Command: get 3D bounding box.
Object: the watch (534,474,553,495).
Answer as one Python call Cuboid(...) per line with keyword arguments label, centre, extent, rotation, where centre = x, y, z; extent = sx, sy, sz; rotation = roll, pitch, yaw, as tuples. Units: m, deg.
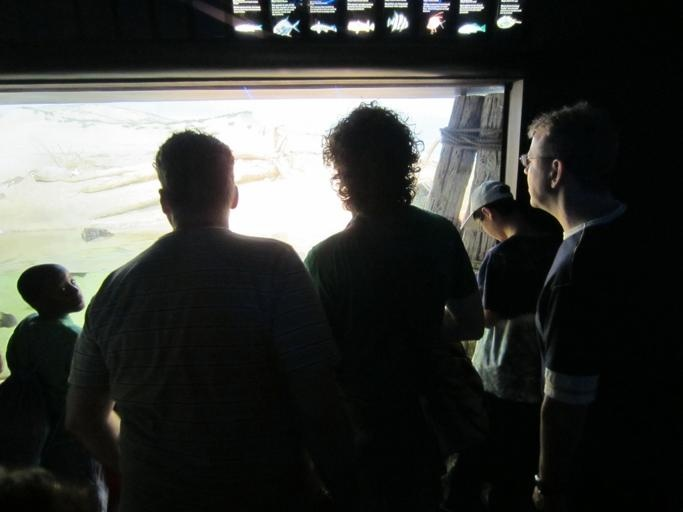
Cuboid(label="watch", centre=(0.590, 0.674, 1.626), extent=(0.022, 0.057, 0.081), rotation=(-4, 11, -12))
